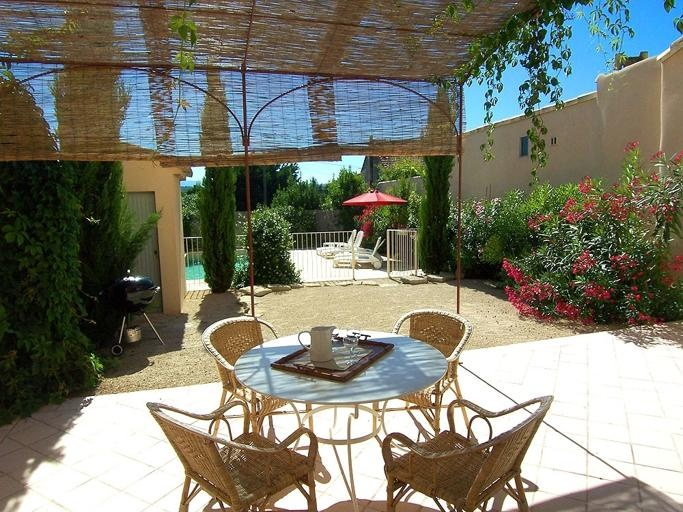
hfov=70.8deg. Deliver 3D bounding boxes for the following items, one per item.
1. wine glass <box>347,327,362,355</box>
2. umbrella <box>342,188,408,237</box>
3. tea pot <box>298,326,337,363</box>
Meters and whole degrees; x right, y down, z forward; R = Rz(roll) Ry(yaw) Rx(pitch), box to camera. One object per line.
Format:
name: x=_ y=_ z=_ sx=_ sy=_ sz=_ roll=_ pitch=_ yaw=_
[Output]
wine glass: x=0.084 y=0.633 z=3.442 sx=0.108 sy=0.206 sz=0.116 roll=-1 pitch=0 yaw=-15
umbrella: x=1.122 y=-0.886 z=13.572 sx=1.718 sy=1.293 sz=1.798 roll=-6 pitch=17 yaw=-12
tea pot: x=-0.173 y=0.599 z=3.453 sx=0.303 sy=0.271 sz=0.178 roll=-1 pitch=10 yaw=-2
